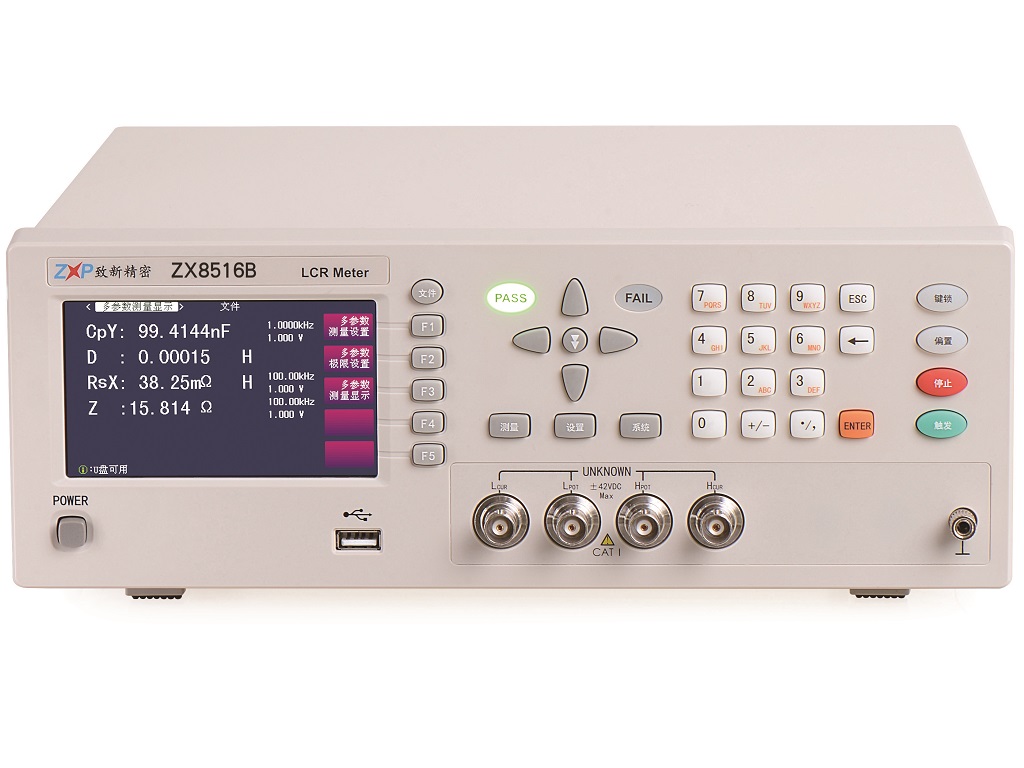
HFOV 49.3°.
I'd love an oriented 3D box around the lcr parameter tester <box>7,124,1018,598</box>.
[{"bbox_3d":[-0.001,-0.049,1.224,1.078,0.534,0.115,0,-14,1],"label":"lcr parameter tester"}]
